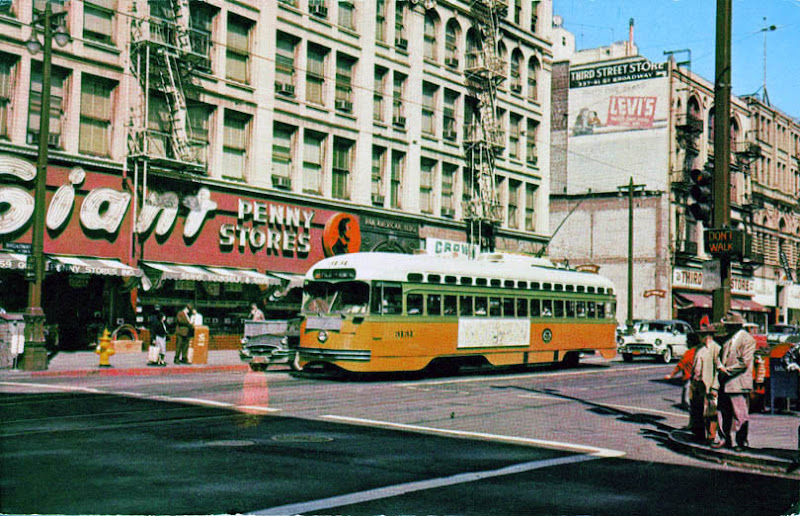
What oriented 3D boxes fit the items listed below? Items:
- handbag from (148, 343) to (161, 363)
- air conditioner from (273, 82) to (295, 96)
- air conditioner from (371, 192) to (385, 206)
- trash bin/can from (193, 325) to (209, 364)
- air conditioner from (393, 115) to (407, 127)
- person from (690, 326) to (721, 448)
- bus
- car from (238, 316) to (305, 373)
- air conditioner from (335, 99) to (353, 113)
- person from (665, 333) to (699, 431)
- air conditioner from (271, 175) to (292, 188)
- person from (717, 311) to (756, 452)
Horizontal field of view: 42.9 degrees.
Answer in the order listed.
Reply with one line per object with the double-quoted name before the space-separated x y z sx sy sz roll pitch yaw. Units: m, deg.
"handbag" -9.272 3.635 38.344 0.371 0.650 0.359 5 -8 -10
"air conditioner" -5.725 -8.050 50.237 0.565 0.519 1.096 1 -2 29
"air conditioner" -1.184 -3.019 54.447 0.185 0.711 1.091 -1 -9 34
"trash bin/can" -7.785 3.428 39.586 0.586 1.449 0.354 6 -8 -15
"air conditioner" -0.039 -7.378 55.776 0.504 0.638 0.979 -4 -5 31
"person" 8.113 3.382 26.945 0.449 2.974 0.804 10 -10 -38
"bus" 2.072 2.273 38.092 4.037 4.137 16.860 4 2 41
"car" -4.867 3.212 37.713 1.572 1.263 2.496 -1 -5 9
"air conditioner" -2.916 -7.839 53.011 0.224 0.771 1.323 -1 -9 34
"person" 8.445 3.599 29.487 0.873 2.820 0.999 -10 3 -30
"air conditioner" -5.827 -3.641 50.069 0.417 0.727 1.146 -2 -10 37
"person" 8.833 3.229 26.552 1.127 3.083 1.350 -1 -2 31
